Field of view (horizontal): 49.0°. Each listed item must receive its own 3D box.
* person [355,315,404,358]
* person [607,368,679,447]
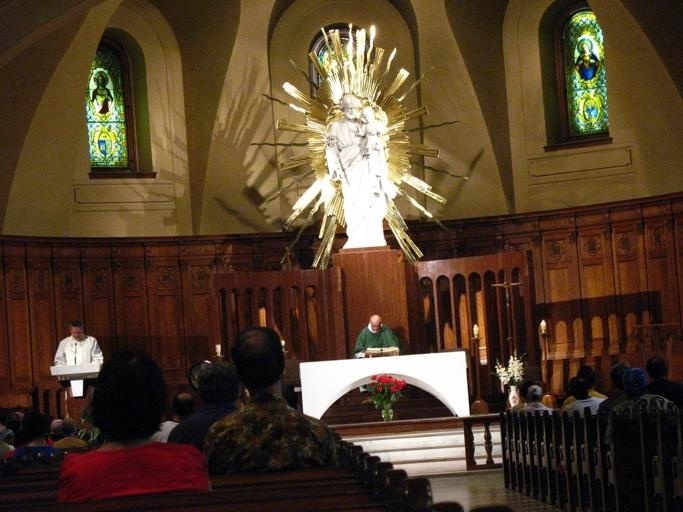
[{"bbox_3d":[0.513,1.156,10.916,0.670,0.564,0.312,-3,-10,1],"label":"person"},{"bbox_3d":[2.237,1.091,5.627,0.484,0.504,0.922,-7,-11,23],"label":"person"}]
